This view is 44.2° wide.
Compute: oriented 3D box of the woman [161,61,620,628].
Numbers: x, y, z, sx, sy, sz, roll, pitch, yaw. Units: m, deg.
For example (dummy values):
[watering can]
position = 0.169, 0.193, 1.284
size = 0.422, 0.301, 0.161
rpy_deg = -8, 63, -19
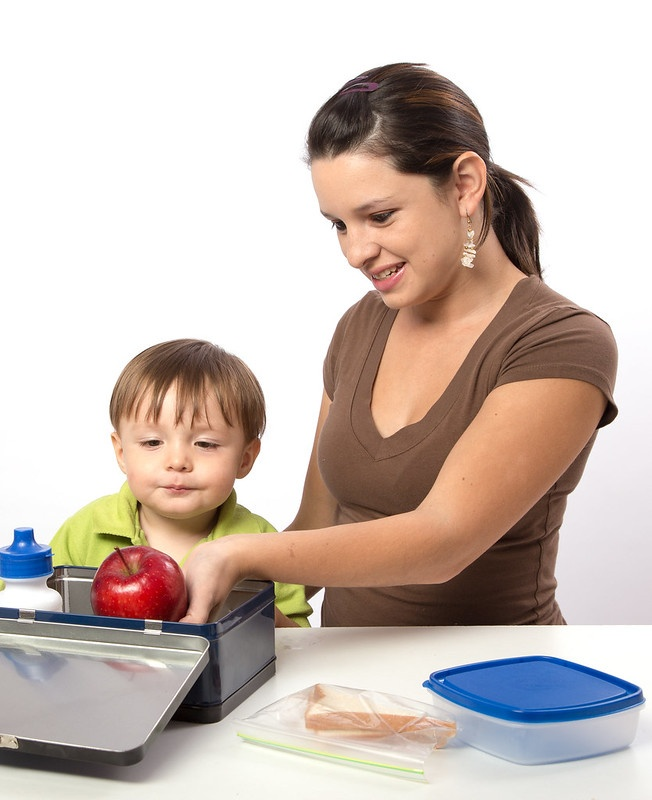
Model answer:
[woman]
position = 0.130, -0.154, 1.208
size = 0.574, 0.710, 0.776
rpy_deg = -2, -1, 3

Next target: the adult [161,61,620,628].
[adult]
position = 0.129, -0.154, 1.210
size = 0.575, 0.710, 0.778
rpy_deg = -2, -1, 3
